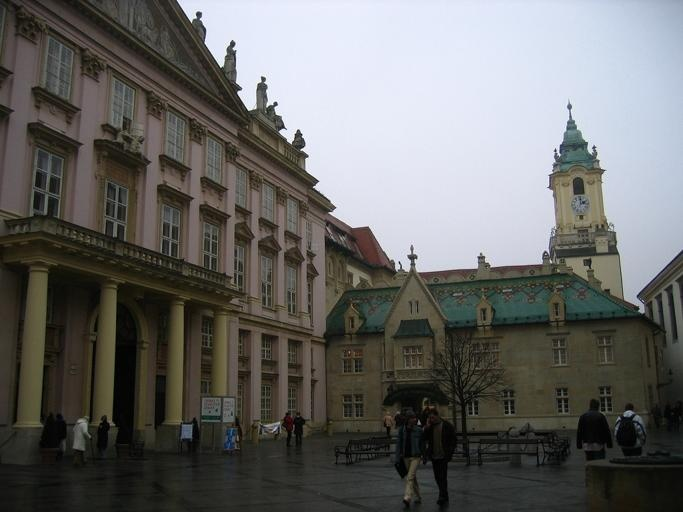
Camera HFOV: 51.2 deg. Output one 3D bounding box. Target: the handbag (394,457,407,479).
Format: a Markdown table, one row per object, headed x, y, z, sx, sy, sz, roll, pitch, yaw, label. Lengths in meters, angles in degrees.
| x | y | z | sx | sy | sz | roll | pitch | yaw | label |
| --- | --- | --- | --- | --- | --- | --- | --- | --- | --- |
| 1.731 | 6.196 | 20.831 | 0.139 | 0.566 | 0.524 | -15 | 8 | 20 | handbag |

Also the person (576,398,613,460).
| x | y | z | sx | sy | sz | roll | pitch | yaw | label |
| --- | --- | --- | --- | --- | --- | --- | --- | --- | --- |
| 8.116 | 5.581 | 22.986 | 1.028 | 1.854 | 0.880 | -7 | -16 | 18 | person |

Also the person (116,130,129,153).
| x | y | z | sx | sy | sz | roll | pitch | yaw | label |
| --- | --- | --- | --- | --- | --- | --- | --- | --- | --- |
| -11.763 | -6.217 | 38.317 | 0.257 | 1.277 | 0.994 | -11 | -19 | 33 | person |

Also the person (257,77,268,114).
| x | y | z | sx | sy | sz | roll | pitch | yaw | label |
| --- | --- | --- | --- | --- | --- | --- | --- | --- | --- |
| -6.264 | -12.333 | 55.128 | 0.742 | 2.861 | 0.713 | 3 | -16 | -14 | person |

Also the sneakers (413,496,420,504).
| x | y | z | sx | sy | sz | roll | pitch | yaw | label |
| --- | --- | --- | --- | --- | --- | --- | --- | --- | --- |
| 2.180 | 7.087 | 20.734 | 0.072 | 0.158 | 0.226 | -11 | -31 | 14 | sneakers |

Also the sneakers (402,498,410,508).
| x | y | z | sx | sy | sz | roll | pitch | yaw | label |
| --- | --- | --- | --- | --- | --- | --- | --- | --- | --- |
| 1.801 | 6.936 | 20.072 | 0.148 | 0.211 | 0.217 | -3 | -61 | 6 | sneakers |

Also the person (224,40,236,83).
| x | y | z | sx | sy | sz | roll | pitch | yaw | label |
| --- | --- | --- | --- | --- | --- | --- | --- | --- | --- |
| -7.891 | -13.695 | 50.697 | 0.982 | 3.324 | 0.774 | 10 | -19 | -36 | person |

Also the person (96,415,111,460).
| x | y | z | sx | sy | sz | roll | pitch | yaw | label |
| --- | --- | --- | --- | --- | --- | --- | --- | --- | --- |
| -10.988 | 8.225 | 32.663 | 0.544 | 1.924 | 1.066 | 4 | -17 | -19 | person |
